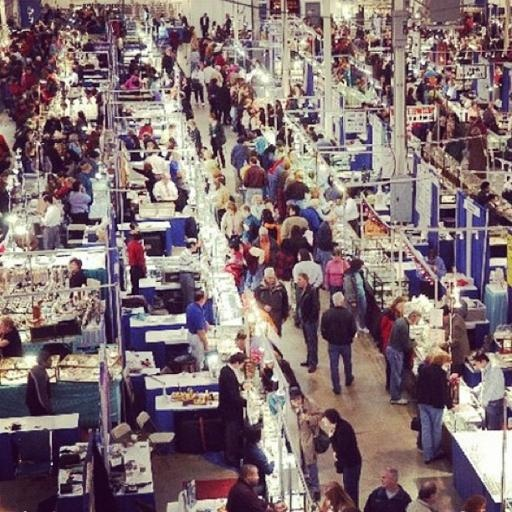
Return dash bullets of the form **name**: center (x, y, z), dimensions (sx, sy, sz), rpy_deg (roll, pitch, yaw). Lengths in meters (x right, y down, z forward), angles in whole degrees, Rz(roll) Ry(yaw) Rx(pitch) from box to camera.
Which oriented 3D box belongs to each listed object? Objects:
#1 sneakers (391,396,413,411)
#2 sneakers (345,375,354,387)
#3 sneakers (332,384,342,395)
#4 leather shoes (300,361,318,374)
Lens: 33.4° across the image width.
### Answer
- **sneakers**: center (1.945, 1.947, 11.390), dimensions (0.248, 0.164, 0.125), rpy_deg (-6, 29, -5)
- **sneakers**: center (1.307, 1.726, 11.840), dimensions (0.144, 0.145, 0.139), rpy_deg (-4, 9, -10)
- **sneakers**: center (1.104, 1.809, 11.559), dimensions (0.118, 0.142, 0.086), rpy_deg (-5, 8, -18)
- **leather shoes**: center (0.737, 1.592, 12.177), dimensions (0.254, 0.115, 0.168), rpy_deg (2, 11, 23)
